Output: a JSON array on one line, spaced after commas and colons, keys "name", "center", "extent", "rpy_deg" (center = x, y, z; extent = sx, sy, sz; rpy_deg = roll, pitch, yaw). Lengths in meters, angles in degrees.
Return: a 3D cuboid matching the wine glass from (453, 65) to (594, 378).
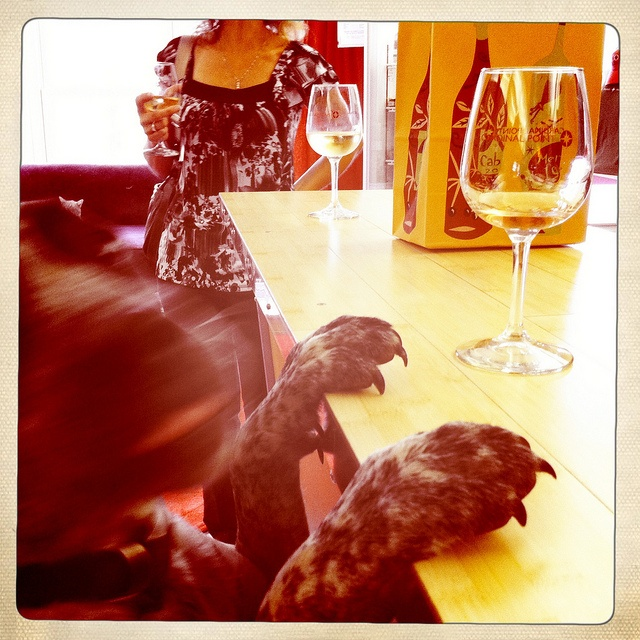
[{"name": "wine glass", "center": [0.129, -0.065, 0.325], "extent": [0.082, 0.177, 0.088], "rpy_deg": [5, 20, 14]}]
